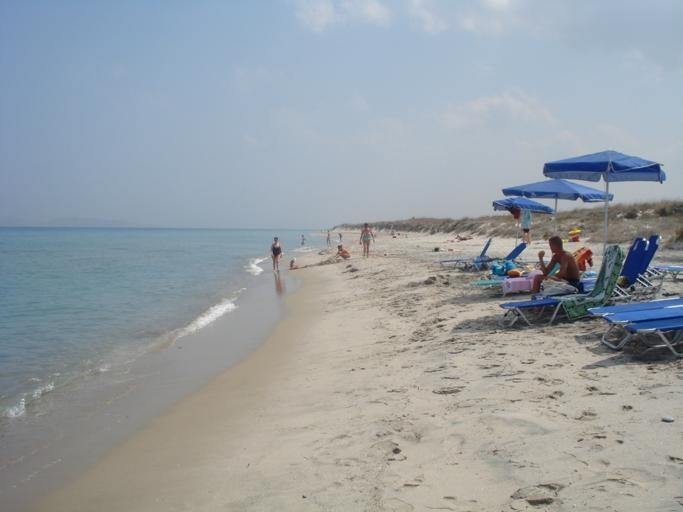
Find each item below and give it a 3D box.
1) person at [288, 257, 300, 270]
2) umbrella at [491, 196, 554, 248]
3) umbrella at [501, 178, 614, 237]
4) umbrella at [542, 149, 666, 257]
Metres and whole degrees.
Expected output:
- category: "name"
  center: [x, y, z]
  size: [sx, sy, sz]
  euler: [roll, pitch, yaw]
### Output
- category: "person"
  center: [-2.421, 0.406, 25.971]
  size: [0.617, 0.421, 1.303]
  euler: [5, -13, -8]
- category: "umbrella"
  center: [6.581, -1.566, 19.424]
  size: [2.467, 1.341, 2.285]
  euler: [4, 0, 23]
- category: "umbrella"
  center: [8.253, -1.614, 19.882]
  size: [4.642, 1.249, 3.996]
  euler: [1, 1, -11]
- category: "umbrella"
  center: [5.068, -1.159, 10.175]
  size: [2.366, 1.687, 2.253]
  euler: [5, 4, 25]
